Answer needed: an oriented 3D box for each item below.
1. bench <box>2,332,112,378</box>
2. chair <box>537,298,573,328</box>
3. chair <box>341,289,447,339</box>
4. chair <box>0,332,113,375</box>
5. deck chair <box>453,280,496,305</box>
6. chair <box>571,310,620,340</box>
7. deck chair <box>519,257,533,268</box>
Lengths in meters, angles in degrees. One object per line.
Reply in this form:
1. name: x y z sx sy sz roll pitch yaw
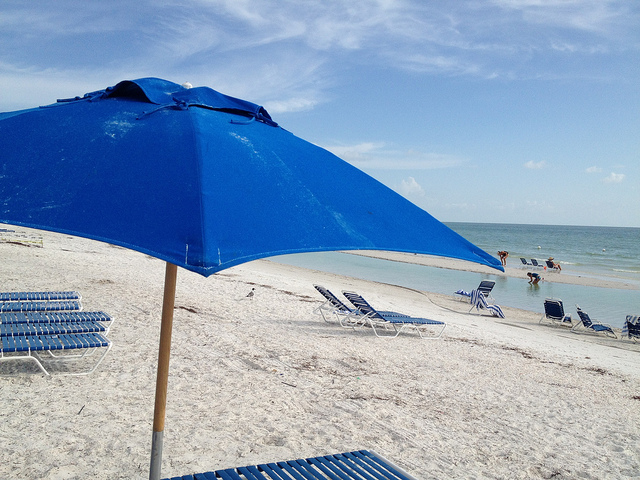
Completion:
1. bench: -3.189 1.359 5.996 1.383 0.265 0.579 5 26 -31
2. chair: 7.400 2.243 15.186 1.193 0.891 0.899 19 -6 -41
3. chair: 1.829 1.698 10.993 2.210 0.723 1.117 0 2 -16
4. chair: -3.188 1.380 5.960 0.738 0.270 1.190 6 5 -22
5. deck chair: 5.894 1.842 16.902 2.070 0.869 1.004 3 -2 -24
6. chair: 8.341 2.486 14.196 1.491 0.649 0.728 4 2 -7
7. deck chair: 15.103 1.690 35.612 1.401 0.752 0.790 3 9 28
